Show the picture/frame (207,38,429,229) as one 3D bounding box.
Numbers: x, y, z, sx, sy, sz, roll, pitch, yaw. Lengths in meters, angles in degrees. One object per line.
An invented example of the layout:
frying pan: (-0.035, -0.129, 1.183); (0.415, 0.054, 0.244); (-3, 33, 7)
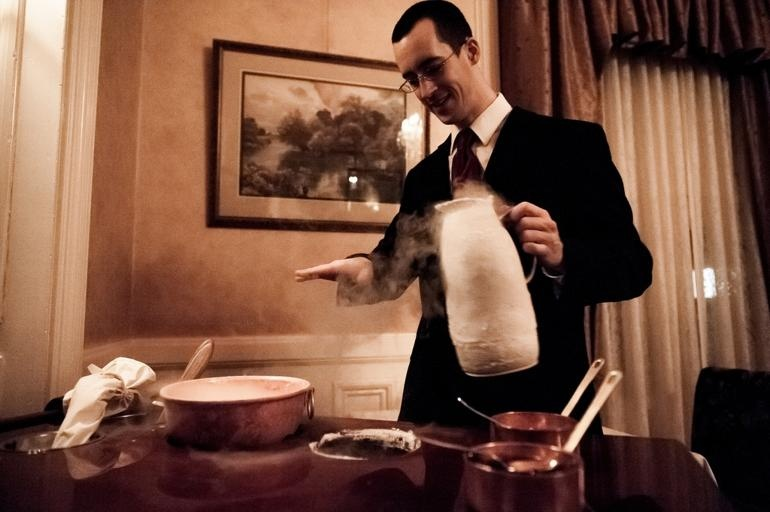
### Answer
picture/frame: (-0.338, -0.510, 2.900); (0.874, 0.668, 0.032); (1, -5, -16)

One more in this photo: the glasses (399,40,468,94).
glasses: (0.154, -0.634, 2.298); (0.163, 0.047, 0.157); (-49, 13, -29)
